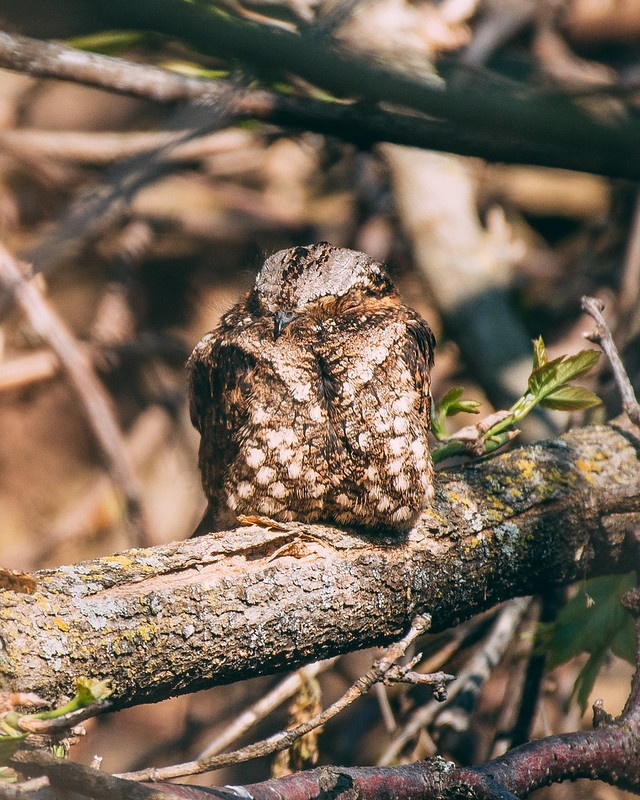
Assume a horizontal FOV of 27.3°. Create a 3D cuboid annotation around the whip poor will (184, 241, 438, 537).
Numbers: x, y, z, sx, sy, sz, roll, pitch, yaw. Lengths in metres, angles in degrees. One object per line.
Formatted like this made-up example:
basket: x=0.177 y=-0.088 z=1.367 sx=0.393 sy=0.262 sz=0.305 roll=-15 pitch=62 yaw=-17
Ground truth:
whip poor will: x=0.017 y=-0.014 z=2.986 sx=0.659 sy=0.706 sz=0.672 roll=6 pitch=53 yaw=-3
